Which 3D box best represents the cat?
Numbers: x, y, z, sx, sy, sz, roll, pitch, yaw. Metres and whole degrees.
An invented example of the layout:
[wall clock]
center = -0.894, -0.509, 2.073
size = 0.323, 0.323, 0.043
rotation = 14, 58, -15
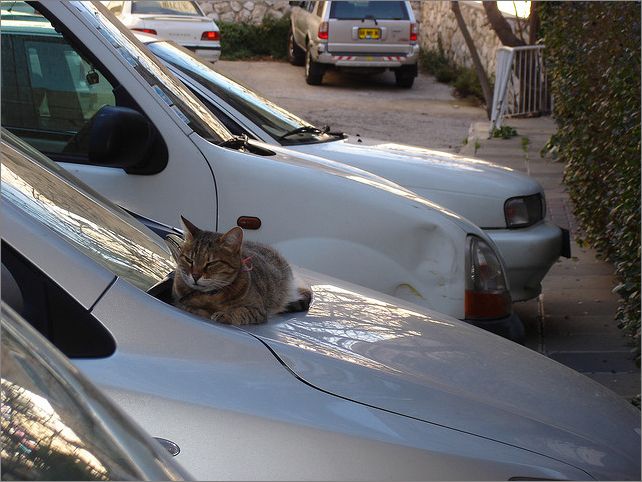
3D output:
[cat]
center = -0.309, 0.104, 2.902
size = 0.490, 0.360, 0.811
rotation = 8, 7, 17
